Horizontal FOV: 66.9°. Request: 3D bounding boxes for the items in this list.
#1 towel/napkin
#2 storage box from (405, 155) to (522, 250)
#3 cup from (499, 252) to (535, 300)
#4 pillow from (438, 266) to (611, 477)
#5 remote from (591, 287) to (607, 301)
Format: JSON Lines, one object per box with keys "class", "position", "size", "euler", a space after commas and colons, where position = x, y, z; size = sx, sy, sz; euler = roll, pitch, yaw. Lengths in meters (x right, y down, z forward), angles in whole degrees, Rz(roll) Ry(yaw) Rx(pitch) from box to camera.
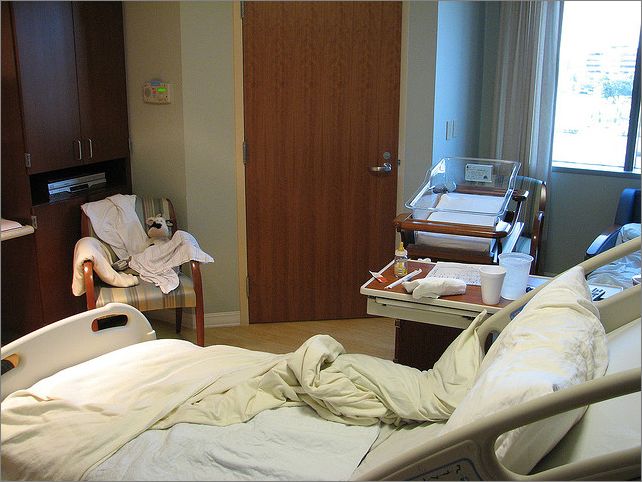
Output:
{"class": "towel/napkin", "position": [-1.379, 0.131, 3.098], "size": [0.388, 0.227, 0.386], "euler": [-23, 52, -38]}
{"class": "storage box", "position": [0.933, -0.324, 3.206], "size": [0.516, 0.337, 0.948], "euler": [7, 30, 22]}
{"class": "cup", "position": [0.873, 0.146, 2.233], "size": [0.175, 0.227, 0.186], "euler": [2, 8, 0]}
{"class": "pillow", "position": [0.585, 0.381, 1.380], "size": [0.368, 0.362, 0.718], "euler": [11, 21, 34]}
{"class": "remote", "position": [1.220, 0.233, 2.137], "size": [0.038, 0.016, 0.077], "euler": [-3, 27, 24]}
